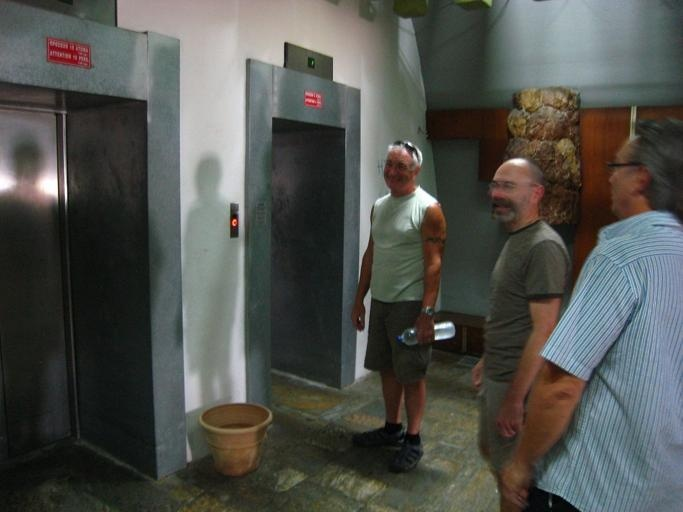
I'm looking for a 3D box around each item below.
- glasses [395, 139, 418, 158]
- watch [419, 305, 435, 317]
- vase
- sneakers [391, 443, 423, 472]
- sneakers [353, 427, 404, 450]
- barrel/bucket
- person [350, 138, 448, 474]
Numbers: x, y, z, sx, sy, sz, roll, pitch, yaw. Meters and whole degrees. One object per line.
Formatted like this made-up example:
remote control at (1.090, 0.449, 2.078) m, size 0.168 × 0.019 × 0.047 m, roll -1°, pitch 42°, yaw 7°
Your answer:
glasses at (0.461, -0.724, 3.653) m, size 0.157 × 0.113 × 0.166 m, roll 10°, pitch 13°, yaw 39°
watch at (0.565, 0.361, 3.473) m, size 0.071 × 0.053 × 0.079 m, roll 4°, pitch -13°, yaw 3°
vase at (-0.675, 1.187, 3.553) m, size 0.409 × 0.310 × 0.415 m, roll 4°, pitch 3°, yaw 36°
sneakers at (0.452, 1.358, 3.633) m, size 0.194 × 0.142 × 0.255 m, roll 4°, pitch 10°, yaw 12°
sneakers at (0.273, 1.322, 3.941) m, size 0.387 × 0.168 × 0.150 m, roll 2°, pitch -4°, yaw 2°
barrel/bucket at (-0.687, 1.180, 3.542) m, size 0.406 × 0.310 × 0.414 m, roll 3°, pitch 3°, yaw 0°
person at (0.383, 0.307, 3.726) m, size 0.436 × 2.171 × 0.710 m, roll -5°, pitch 12°, yaw -36°
